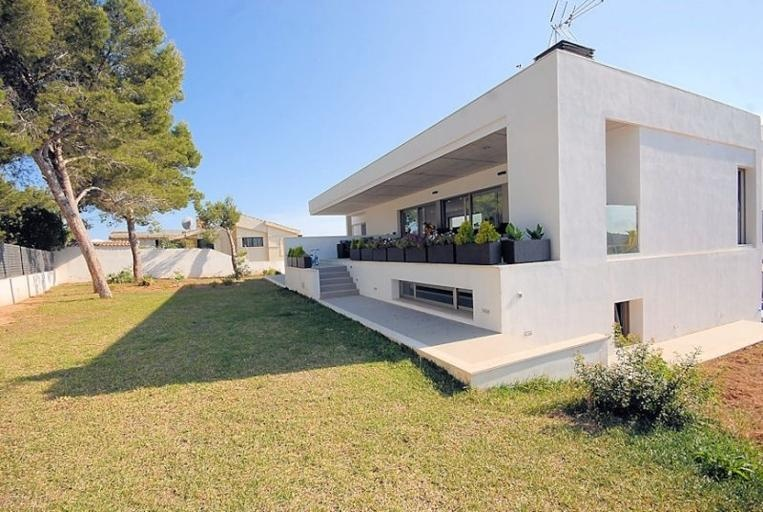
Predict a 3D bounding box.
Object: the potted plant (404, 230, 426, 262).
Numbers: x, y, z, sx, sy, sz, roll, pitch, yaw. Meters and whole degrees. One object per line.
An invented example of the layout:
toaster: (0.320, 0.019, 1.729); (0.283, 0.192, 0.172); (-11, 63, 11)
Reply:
potted plant: (1.028, -0.257, 13.884); (0.568, 1.157, 1.132); (0, 0, -26)

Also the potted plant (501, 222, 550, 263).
potted plant: (3.869, -0.277, 11.902); (1.044, 1.002, 0.539); (-3, -3, -6)

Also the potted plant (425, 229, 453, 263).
potted plant: (1.682, -0.184, 12.904); (0.639, 0.855, 1.211); (-2, 1, -13)

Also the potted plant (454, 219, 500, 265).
potted plant: (2.593, -0.370, 12.189); (1.148, 1.163, 0.832); (-1, 4, 40)
